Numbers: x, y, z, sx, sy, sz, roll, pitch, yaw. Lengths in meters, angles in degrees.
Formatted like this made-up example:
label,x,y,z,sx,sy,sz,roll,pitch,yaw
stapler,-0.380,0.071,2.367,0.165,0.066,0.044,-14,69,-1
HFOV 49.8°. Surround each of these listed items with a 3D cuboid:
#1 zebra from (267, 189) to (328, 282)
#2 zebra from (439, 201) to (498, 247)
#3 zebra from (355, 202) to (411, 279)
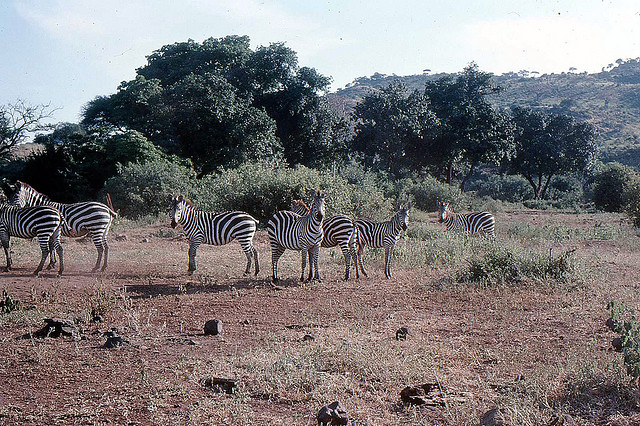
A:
label,x,y,z,sx,sy,sz,roll,pitch,yaw
zebra,-0.648,0.774,20.871,1.000,2.637,3.483,-4,-3,-34
zebra,5.432,0.348,25.718,2.574,1.925,0.824,-1,16,-16
zebra,1.842,0.927,21.521,0.698,2.145,2.704,0,0,-39
